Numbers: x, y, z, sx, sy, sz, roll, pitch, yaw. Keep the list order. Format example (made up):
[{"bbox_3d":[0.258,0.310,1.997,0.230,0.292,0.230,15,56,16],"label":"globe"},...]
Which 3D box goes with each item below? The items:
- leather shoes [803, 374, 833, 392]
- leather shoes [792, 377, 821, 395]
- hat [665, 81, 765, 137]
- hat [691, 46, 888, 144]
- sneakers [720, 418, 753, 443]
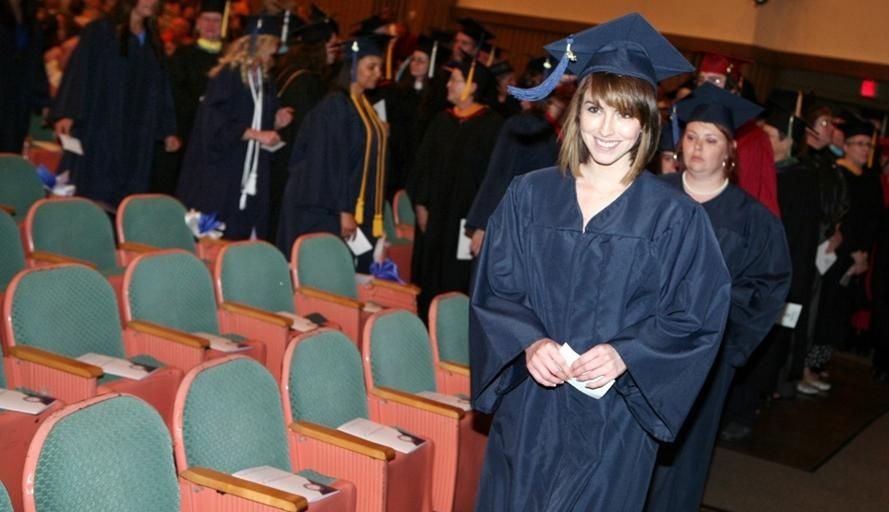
[{"bbox_3d":[4.074,1.412,7.893,0.218,0.142,0.394,-2,0,-3],"label":"leather shoes"},{"bbox_3d":[3.897,1.434,7.706,0.148,0.064,0.264,-2,15,-19],"label":"leather shoes"},{"bbox_3d":[1.901,-1.040,5.113,0.531,0.265,0.540,27,-16,-4],"label":"hat"},{"bbox_3d":[2.894,-1.588,7.044,0.754,0.838,0.855,15,18,35],"label":"hat"},{"bbox_3d":[2.659,1.593,6.534,0.194,0.059,0.183,9,30,15],"label":"sneakers"}]
